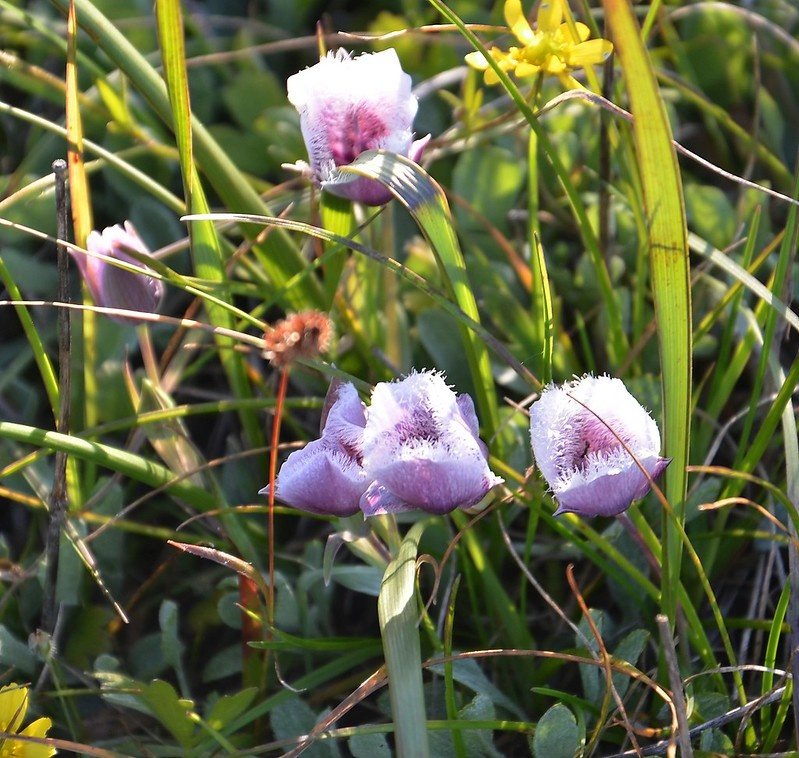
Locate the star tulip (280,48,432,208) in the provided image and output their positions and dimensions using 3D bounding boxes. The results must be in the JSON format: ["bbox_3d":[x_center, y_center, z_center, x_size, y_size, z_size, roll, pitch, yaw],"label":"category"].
[{"bbox_3d":[-0.037,-0.199,0.800,0.087,0.106,0.103,21,44,28],"label":"star tulip"}]

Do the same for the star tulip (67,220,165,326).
[{"bbox_3d":[-0.241,-0.091,0.894,0.088,0.099,0.064,10,13,30],"label":"star tulip"}]

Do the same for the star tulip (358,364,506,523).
[{"bbox_3d":[0.017,0.045,0.717,0.099,0.086,0.074,-10,38,-9],"label":"star tulip"}]

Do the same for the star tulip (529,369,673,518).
[{"bbox_3d":[0.137,0.045,0.710,0.080,0.113,0.124,6,22,6],"label":"star tulip"}]

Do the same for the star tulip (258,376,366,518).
[{"bbox_3d":[-0.052,0.065,0.753,0.081,0.045,0.090,-14,49,45],"label":"star tulip"}]
